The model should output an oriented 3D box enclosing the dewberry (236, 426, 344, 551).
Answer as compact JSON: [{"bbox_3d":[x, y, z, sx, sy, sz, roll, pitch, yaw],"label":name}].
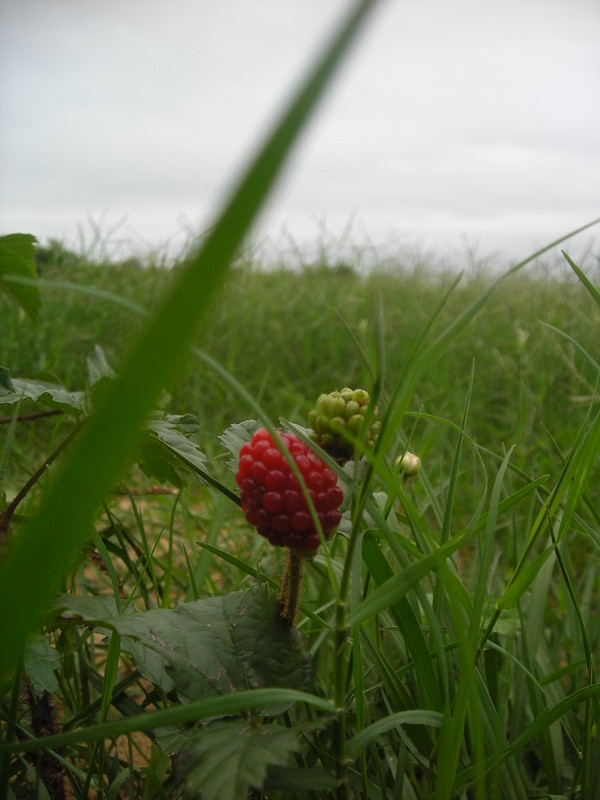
[{"bbox_3d":[0.001,0.062,0.468,0.053,0.076,0.046,-31,-16,-3],"label":"dewberry"}]
